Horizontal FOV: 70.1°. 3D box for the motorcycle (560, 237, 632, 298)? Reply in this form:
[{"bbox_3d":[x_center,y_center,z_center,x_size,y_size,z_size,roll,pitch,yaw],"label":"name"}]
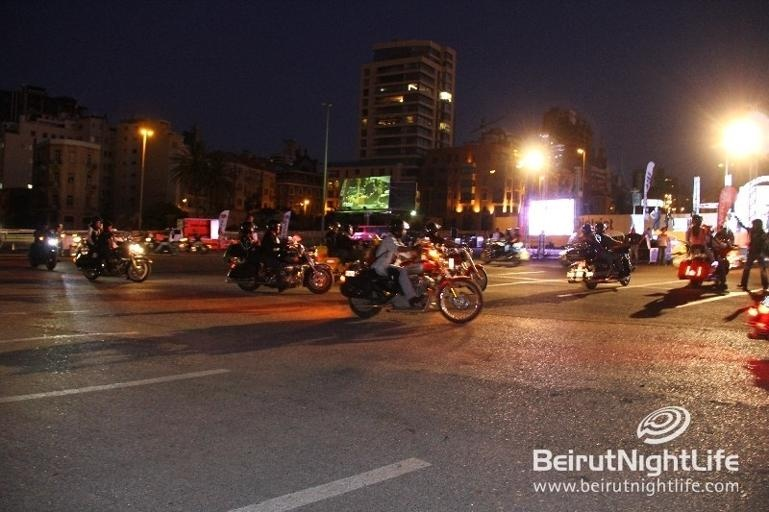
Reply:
[{"bbox_3d":[7.282,0.185,18.490,1.854,1.777,0.745,-1,4,-13],"label":"motorcycle"}]

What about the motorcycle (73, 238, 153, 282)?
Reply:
[{"bbox_3d":[-9.178,0.115,18.881,2.538,1.464,1.330,-1,3,-1],"label":"motorcycle"}]

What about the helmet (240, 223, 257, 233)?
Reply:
[{"bbox_3d":[-4.376,-0.953,17.427,0.395,0.277,0.472,2,-5,-9],"label":"helmet"}]

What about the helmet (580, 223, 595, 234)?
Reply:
[{"bbox_3d":[6.951,-0.930,18.741,0.355,0.334,0.350,0,5,-4],"label":"helmet"}]

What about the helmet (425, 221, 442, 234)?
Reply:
[{"bbox_3d":[1.224,-0.763,15.165,0.313,0.394,0.404,12,8,44],"label":"helmet"}]

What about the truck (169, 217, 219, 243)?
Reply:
[{"bbox_3d":[-15.256,-2.059,44.658,3.370,1.913,2.224,1,2,-19],"label":"truck"}]

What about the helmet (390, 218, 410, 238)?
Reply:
[{"bbox_3d":[0.334,-0.614,11.824,0.330,0.405,0.424,7,22,25],"label":"helmet"}]
